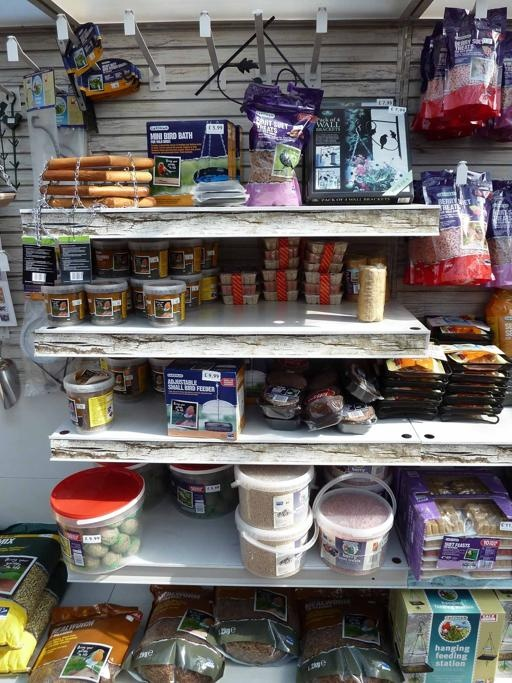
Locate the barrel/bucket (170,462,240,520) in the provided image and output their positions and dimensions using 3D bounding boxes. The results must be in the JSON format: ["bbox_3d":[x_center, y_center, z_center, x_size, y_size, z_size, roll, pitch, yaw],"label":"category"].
[{"bbox_3d":[-0.199,0.576,2.160,0.266,0.179,0.257,-1,10,0],"label":"barrel/bucket"}]

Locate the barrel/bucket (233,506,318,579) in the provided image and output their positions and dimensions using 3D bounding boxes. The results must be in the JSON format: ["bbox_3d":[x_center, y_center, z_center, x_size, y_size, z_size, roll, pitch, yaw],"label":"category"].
[{"bbox_3d":[0.079,0.709,1.810,0.250,0.147,0.241,1,5,0],"label":"barrel/bucket"}]

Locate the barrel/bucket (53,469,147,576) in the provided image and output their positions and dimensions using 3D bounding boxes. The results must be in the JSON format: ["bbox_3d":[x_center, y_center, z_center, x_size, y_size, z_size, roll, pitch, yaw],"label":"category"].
[{"bbox_3d":[-0.575,0.655,1.986,0.349,0.256,0.355,-1,16,0],"label":"barrel/bucket"}]

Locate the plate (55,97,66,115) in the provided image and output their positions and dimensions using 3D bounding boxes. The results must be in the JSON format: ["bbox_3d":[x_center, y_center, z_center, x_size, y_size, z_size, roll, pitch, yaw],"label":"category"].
[{"bbox_3d":[-0.767,-0.939,2.101,0.041,0.068,0.029,-6,20,-6],"label":"plate"}]

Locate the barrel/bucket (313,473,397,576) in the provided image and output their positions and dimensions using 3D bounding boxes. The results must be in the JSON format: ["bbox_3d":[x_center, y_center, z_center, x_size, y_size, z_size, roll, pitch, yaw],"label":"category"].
[{"bbox_3d":[0.354,0.631,1.901,0.274,0.322,0.278,-1,17,0],"label":"barrel/bucket"}]

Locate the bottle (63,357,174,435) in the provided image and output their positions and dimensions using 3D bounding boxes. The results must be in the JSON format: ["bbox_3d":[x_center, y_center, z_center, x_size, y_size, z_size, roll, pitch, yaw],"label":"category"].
[{"bbox_3d":[-0.503,0.160,1.940,0.329,0.186,0.265,-9,17,-29],"label":"bottle"}]

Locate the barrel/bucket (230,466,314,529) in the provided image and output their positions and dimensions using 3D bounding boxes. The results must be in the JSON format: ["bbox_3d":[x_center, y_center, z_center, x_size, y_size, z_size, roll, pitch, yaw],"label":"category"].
[{"bbox_3d":[0.064,0.539,1.898,0.303,0.172,0.293,-1,4,0],"label":"barrel/bucket"}]
